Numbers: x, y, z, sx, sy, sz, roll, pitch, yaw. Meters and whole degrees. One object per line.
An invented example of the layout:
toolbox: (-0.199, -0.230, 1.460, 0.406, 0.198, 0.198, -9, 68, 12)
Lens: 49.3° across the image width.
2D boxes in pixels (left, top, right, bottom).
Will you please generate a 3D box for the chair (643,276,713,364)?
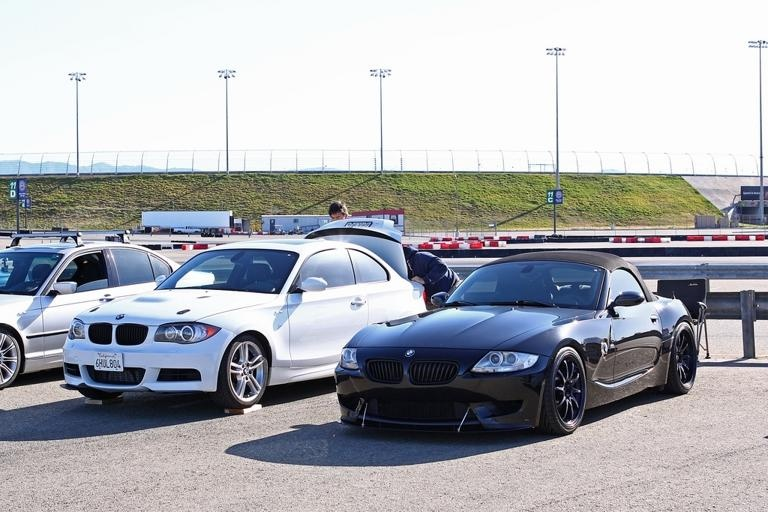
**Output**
chair: (4.587, 0.955, 12.597, 1.016, 1.166, 1.196, 0, 0, 16)

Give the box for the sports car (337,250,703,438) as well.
sports car: (1.533, 0.888, 9.202, 3.617, 1.745, 1.710, -5, 7, -40)
